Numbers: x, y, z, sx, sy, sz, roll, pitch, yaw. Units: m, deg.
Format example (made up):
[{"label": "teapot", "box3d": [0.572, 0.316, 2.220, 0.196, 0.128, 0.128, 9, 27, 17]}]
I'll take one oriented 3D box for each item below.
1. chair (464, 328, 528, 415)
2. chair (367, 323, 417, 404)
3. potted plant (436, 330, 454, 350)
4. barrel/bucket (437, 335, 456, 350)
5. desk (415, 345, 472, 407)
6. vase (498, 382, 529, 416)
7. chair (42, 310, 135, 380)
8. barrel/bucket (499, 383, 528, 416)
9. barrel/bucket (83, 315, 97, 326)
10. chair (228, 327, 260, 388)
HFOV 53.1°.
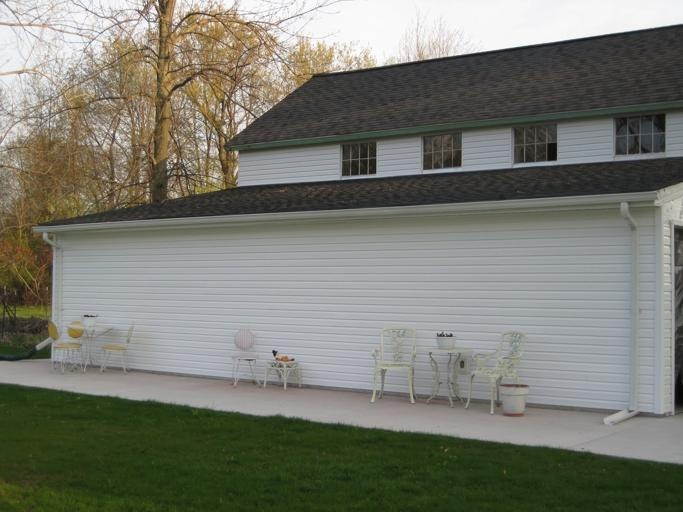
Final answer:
[{"label": "chair", "box3d": [2.816, 2.039, 12.439, 1.081, 1.330, 0.984, -1, 1, 3]}, {"label": "chair", "box3d": [1.026, 2.041, 13.317, 0.944, 1.336, 0.876, -1, -1, 4]}, {"label": "potted plant", "box3d": [1.959, 1.589, 12.900, 0.306, 0.188, 0.300, 1, -10, -4]}, {"label": "barrel/bucket", "box3d": [1.956, 1.607, 12.780, 0.267, 0.156, 0.268, 0, -7, 0]}, {"label": "desk", "box3d": [1.971, 2.265, 13.151, 0.941, 0.924, 1.067, -9, -12, 32]}, {"label": "vase", "box3d": [3.036, 2.528, 12.006, 0.528, 0.483, 0.550, 7, -11, -28]}, {"label": "chair", "box3d": [-6.227, 2.209, 16.948, 2.622, 1.280, 1.292, 2, -3, 32]}, {"label": "barrel/bucket", "box3d": [3.008, 2.536, 12.028, 0.601, 0.513, 0.549, -1, -9, 0]}, {"label": "barrel/bucket", "box3d": [-6.100, 1.549, 16.484, 0.269, 0.186, 0.271, -1, -8, 0]}, {"label": "chair", "box3d": [-2.082, 2.178, 14.783, 0.598, 1.187, 1.031, -1, 2, -10]}]
